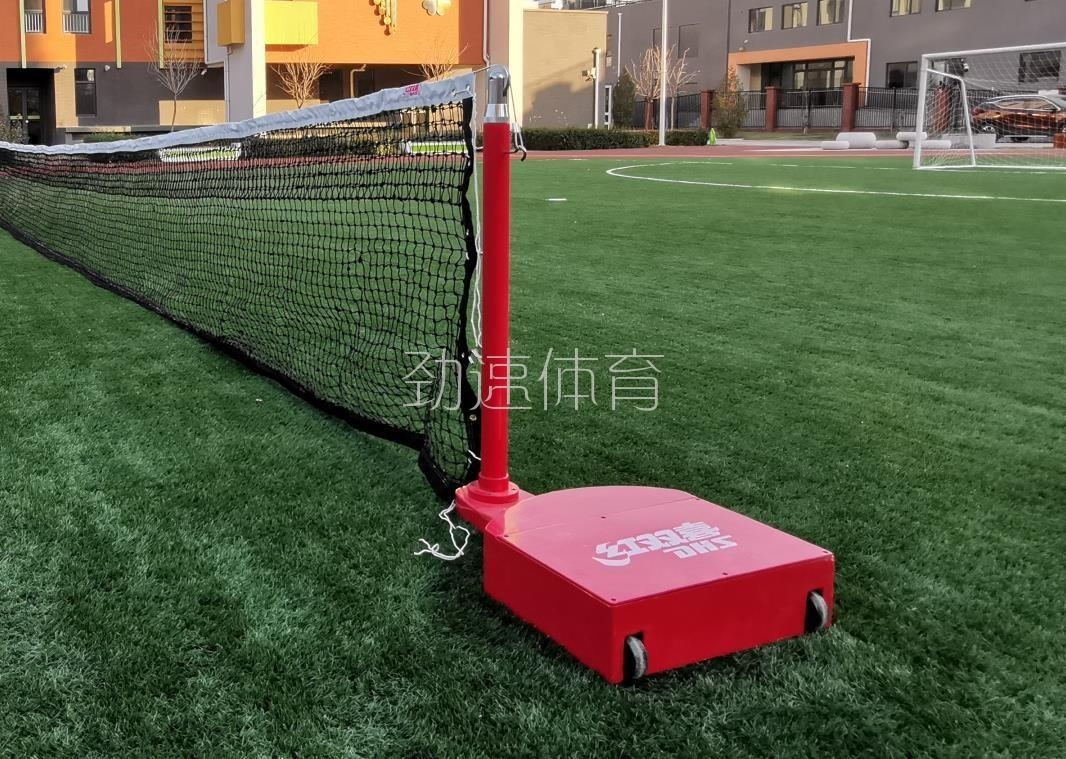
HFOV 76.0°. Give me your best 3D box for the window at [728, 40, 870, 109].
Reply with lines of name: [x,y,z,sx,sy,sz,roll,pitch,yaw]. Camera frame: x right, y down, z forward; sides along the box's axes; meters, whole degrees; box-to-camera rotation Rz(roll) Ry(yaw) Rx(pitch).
window: [18.020,-20.222,45.647,8.322,2.843,2.490,11,12,32]

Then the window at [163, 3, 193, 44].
window: [-16.237,-16.302,31.349,1.306,1.582,0.557,-8,16,-25]

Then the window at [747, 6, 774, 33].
window: [15.693,-24.414,46.392,0.109,1.532,2.245,-1,9,-39]

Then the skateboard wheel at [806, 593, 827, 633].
skateboard wheel: [0.804,0.653,1.913,0.058,0.122,0.040,4,16,20]

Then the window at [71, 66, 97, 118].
window: [-20.705,-13.250,31.648,1.021,2.243,0.125,0,3,2]

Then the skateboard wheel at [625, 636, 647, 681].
skateboard wheel: [0.264,0.682,1.680,0.055,0.106,0.039,-6,16,-19]
